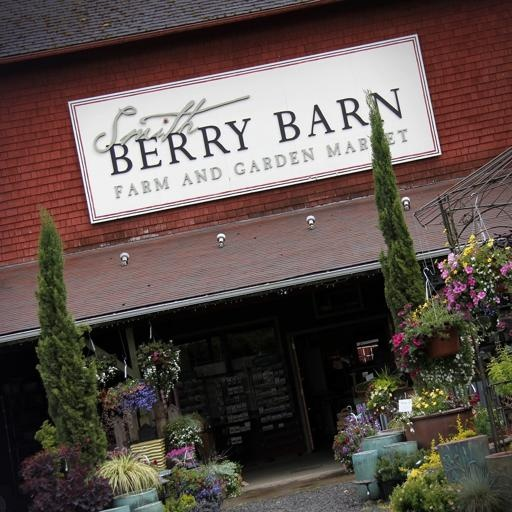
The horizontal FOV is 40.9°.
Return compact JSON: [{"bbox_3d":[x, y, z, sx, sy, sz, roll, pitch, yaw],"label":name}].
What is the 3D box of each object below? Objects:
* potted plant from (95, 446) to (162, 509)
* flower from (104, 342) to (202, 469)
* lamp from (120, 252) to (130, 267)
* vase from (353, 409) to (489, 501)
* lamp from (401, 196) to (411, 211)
[{"bbox_3d":[-1.486,2.644,8.022,0.484,0.418,0.581,2,-14,-3],"label":"potted plant"},{"bbox_3d":[-1.544,2.070,10.137,1.343,1.799,0.805,4,-59,-18],"label":"flower"},{"bbox_3d":[-2.331,0.081,12.267,0.179,0.230,0.230,2,-46,-5],"label":"lamp"},{"bbox_3d":[1.809,2.182,7.486,1.069,0.741,0.869,9,-18,-29],"label":"vase"},{"bbox_3d":[2.722,-0.928,12.337,0.130,0.133,0.415,-2,6,7],"label":"lamp"}]
